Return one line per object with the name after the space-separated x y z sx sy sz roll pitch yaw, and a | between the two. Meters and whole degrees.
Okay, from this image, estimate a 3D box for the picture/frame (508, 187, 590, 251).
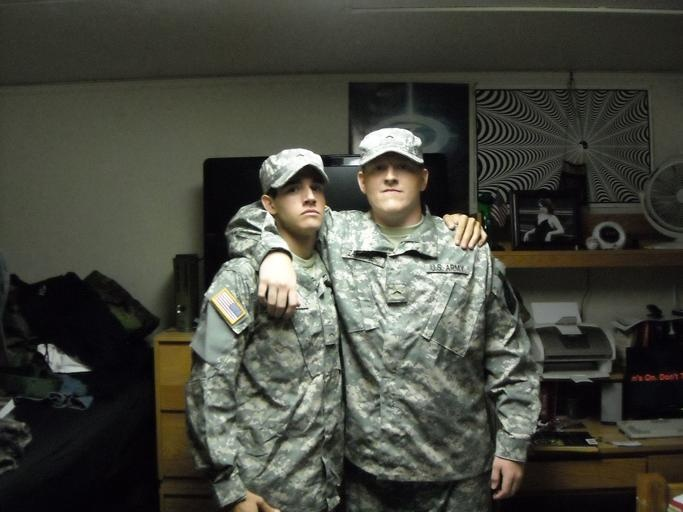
0.956 -0.166 2.994 0.294 0.279 0.030 0 -11 -3 | picture/frame

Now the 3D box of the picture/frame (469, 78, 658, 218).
1.111 -0.532 3.120 0.711 0.503 0.014 0 -5 -1 | picture/frame

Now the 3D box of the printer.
1.012 0.365 2.892 0.375 0.288 0.335 -1 4 -6 | printer
